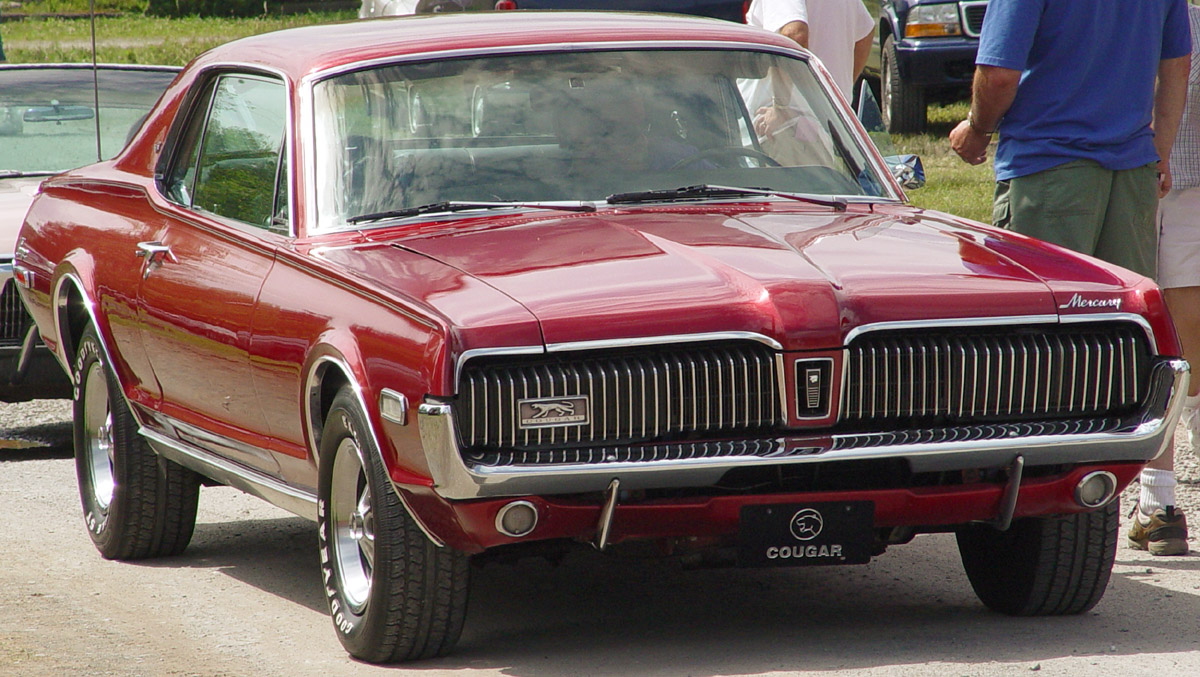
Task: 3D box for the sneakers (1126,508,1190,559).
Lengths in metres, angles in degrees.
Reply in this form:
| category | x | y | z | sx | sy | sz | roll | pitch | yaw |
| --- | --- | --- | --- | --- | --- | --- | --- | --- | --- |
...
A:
| category | x | y | z | sx | sy | sz | roll | pitch | yaw |
| --- | --- | --- | --- | --- | --- | --- | --- | --- | --- |
| sneakers | 3.087 | 1.049 | 7.597 | 0.188 | 0.151 | 0.396 | -2 | 6 | -13 |
